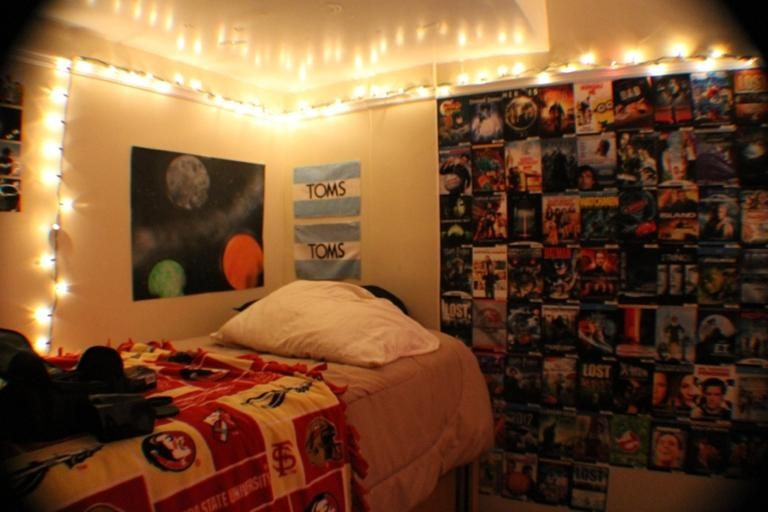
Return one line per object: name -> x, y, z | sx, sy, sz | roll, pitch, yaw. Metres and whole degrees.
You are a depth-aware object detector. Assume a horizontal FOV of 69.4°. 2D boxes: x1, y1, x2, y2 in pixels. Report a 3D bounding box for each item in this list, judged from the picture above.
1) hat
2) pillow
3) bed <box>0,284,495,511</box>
hat -> -1.399, 0.582, 2.791 | 0.477, 0.254, 0.356 | 0, 0, -30
pillow -> -0.342, 0.415, 3.680 | 1.283, 0.472, 0.690 | -1, 0, 27
bed -> -0.737, 0.785, 3.003 | 1.364, 0.614, 1.368 | -7, -19, 36
